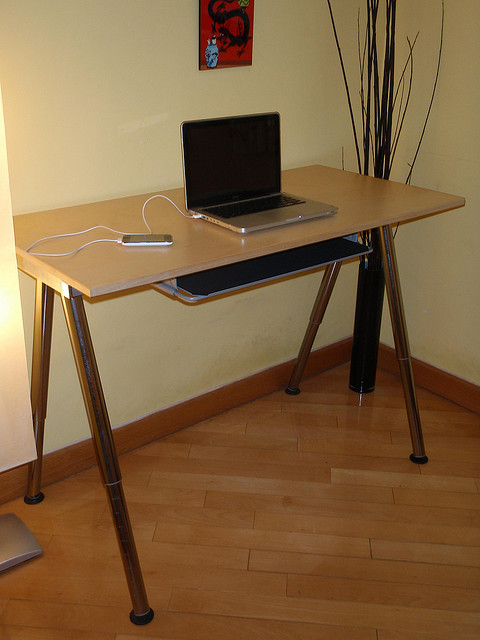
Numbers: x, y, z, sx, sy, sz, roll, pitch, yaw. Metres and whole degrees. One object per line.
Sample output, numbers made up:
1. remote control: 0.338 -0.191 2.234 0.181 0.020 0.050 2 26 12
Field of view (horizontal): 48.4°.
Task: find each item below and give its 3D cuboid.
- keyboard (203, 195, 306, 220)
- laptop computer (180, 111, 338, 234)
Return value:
1. keyboard: 0.035 -0.292 1.370 0.284 0.010 0.122 -22 31 -37
2. laptop computer: 0.052 -0.378 1.337 0.329 0.235 0.252 -19 30 -36
